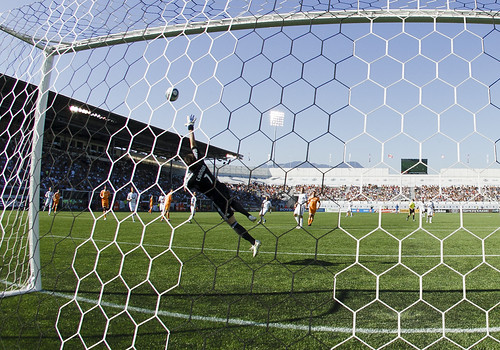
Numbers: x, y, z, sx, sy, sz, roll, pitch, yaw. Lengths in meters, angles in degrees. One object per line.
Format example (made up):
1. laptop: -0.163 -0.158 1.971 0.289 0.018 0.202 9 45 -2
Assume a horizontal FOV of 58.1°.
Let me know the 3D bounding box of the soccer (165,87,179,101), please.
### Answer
1. soccer: -1.036 -1.062 5.981 0.156 0.227 0.254 4 -5 -18

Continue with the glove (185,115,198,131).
1. glove: -0.762 -0.677 5.836 0.136 0.190 0.083 -3 -8 44
